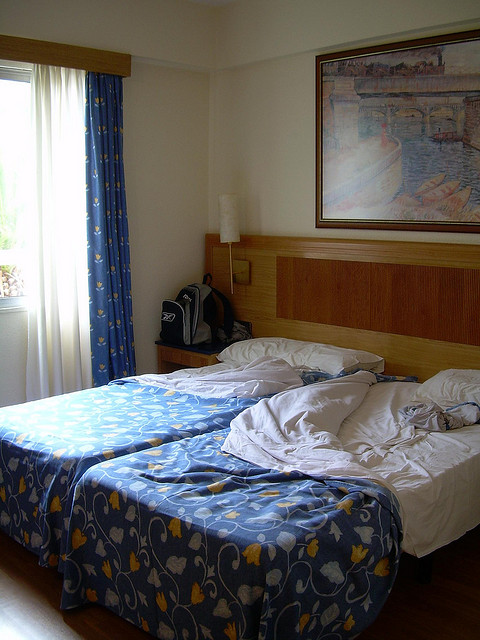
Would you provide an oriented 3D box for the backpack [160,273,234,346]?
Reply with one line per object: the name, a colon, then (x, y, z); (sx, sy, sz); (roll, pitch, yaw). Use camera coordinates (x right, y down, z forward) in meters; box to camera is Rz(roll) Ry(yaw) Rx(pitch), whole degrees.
backpack: (-0.346, -0.068, 3.808); (0.543, 0.562, 0.425); (-5, 7, -31)
